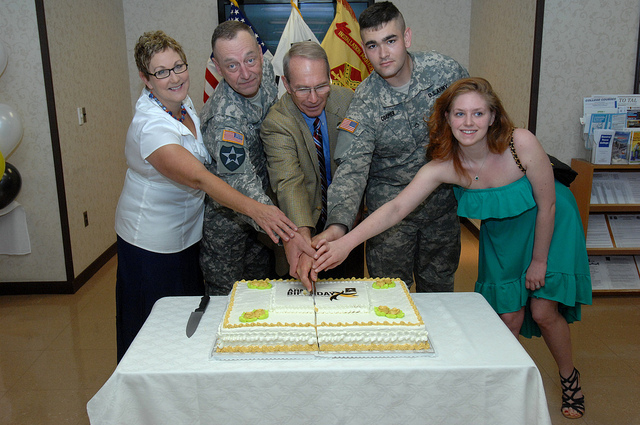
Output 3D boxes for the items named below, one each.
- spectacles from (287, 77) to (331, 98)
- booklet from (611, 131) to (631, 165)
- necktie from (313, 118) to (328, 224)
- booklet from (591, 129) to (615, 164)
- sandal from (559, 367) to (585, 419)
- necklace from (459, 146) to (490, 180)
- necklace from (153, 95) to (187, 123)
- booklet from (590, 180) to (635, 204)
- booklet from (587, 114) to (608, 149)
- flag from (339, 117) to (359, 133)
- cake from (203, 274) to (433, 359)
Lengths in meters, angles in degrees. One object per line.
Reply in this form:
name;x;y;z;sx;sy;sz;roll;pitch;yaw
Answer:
spectacles;-0.067;-0.725;2.605;0.249;0.096;0.105;-4;12;2
booklet;2.537;-0.559;3.758;0.144;0.282;0.027;4;8;15
necktie;0.008;-0.259;2.795;0.073;0.657;0.065;-4;12;-2
booklet;2.406;-0.554;3.752;0.156;0.288;0.044;0;13;15
sandal;1.590;1.119;2.747;0.178;0.292;0.098;-5;12;-6
necklace;0.827;-0.273;2.367;0.150;0.161;0.005;-18;25;29
necklace;-0.828;-0.585;2.472;0.023;0.136;0.105;-50;15;-15
booklet;2.606;-0.183;4.007;0.309;0.235;0.066;-3;-18;3
booklet;2.422;-0.703;3.840;0.172;0.375;0.035;9;29;43
flag;0.174;-0.509;2.602;0.085;0.066;0.013;32;-6;21
cake;-0.004;0.492;1.981;0.615;0.118;0.431;1;28;3
